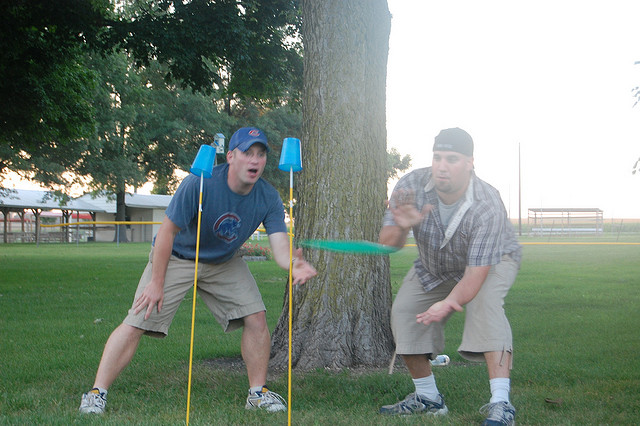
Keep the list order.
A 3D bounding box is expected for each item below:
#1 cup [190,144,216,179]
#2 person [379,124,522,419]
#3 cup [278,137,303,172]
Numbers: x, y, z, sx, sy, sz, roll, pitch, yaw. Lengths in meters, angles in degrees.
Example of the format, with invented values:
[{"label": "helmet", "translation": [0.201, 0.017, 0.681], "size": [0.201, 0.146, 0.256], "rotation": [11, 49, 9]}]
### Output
[{"label": "cup", "translation": [-1.326, -0.595, 6.248], "size": [0.264, 0.399, 0.304], "rotation": [1, 0, -13]}, {"label": "person", "translation": [1.533, 0.700, 6.219], "size": [1.357, 2.896, 0.741], "rotation": [1, 0, 21]}, {"label": "cup", "translation": [-0.336, -0.658, 6.151], "size": [0.360, 0.315, 0.380], "rotation": [3, 1, 0]}]
